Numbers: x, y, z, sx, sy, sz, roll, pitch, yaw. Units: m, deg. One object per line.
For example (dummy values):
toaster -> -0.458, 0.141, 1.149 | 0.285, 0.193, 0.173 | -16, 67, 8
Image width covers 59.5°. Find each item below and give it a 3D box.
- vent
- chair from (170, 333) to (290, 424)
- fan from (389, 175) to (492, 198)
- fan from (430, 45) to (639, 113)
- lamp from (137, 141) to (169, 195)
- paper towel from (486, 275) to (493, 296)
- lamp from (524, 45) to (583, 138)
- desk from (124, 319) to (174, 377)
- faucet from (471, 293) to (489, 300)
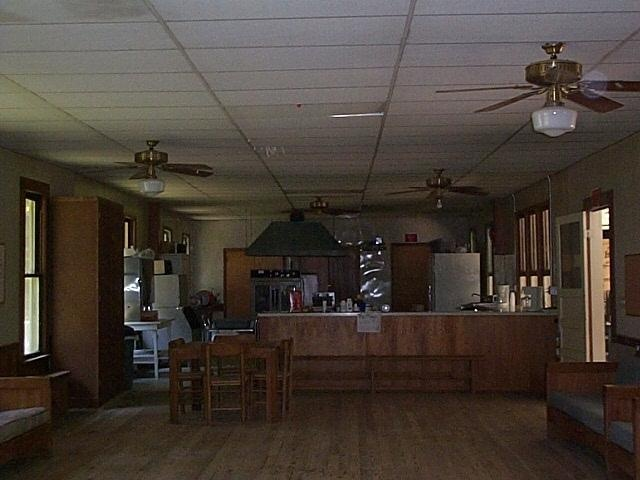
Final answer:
vent -> -0.401, -0.029, 9.043 | 1.523, 0.697, 0.450 | 0, 0, 1
chair -> -1.155, 1.786, 7.093 | 1.314, 0.740, 1.261 | 0, -4, 1
fan -> 1.852, -0.811, 8.419 | 0.872, 0.249, 0.878 | 1, 0, 35
fan -> 1.756, -1.146, 4.163 | 0.835, 0.236, 0.829 | -2, -2, 26
lamp -> -2.016, -0.869, 6.658 | 0.376, 0.631, 0.392 | 3, 3, 40
paper towel -> 3.602, 0.938, 11.786 | 0.097, 0.422, 0.617 | 0, -1, 14
lamp -> 1.765, -1.150, 4.205 | 0.362, 0.692, 0.499 | -1, 0, 24
desk -> -2.939, 1.779, 9.582 | 0.892, 0.753, 1.073 | -1, -6, 2
faucet -> 3.059, 1.084, 10.702 | 0.302, 0.093, 0.217 | 0, -4, -5
